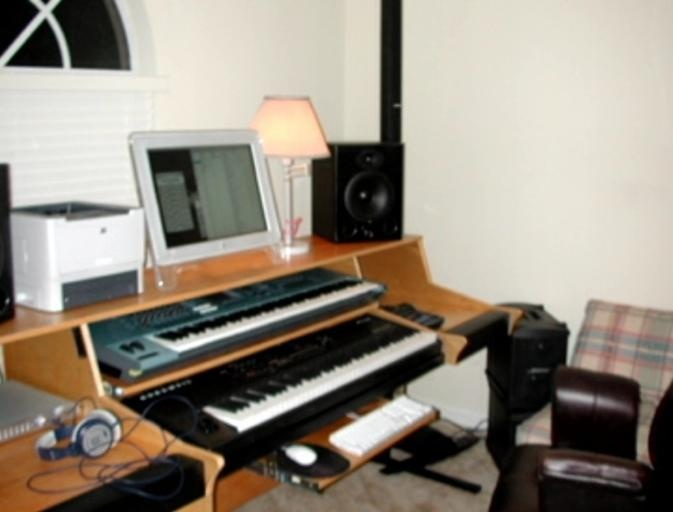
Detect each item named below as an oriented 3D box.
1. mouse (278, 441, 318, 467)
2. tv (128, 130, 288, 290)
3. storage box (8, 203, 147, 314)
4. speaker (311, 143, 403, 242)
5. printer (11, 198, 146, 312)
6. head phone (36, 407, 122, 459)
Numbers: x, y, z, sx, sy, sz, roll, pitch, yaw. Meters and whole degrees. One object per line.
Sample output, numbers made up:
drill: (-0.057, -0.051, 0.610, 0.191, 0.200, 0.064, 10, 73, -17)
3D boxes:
mouse: (-0.119, 0.677, 1.896, 0.086, 0.024, 0.070, 12, 23, 29)
tv: (-0.503, -0.206, 2.173, 0.211, 0.534, 0.641, 20, 23, 34)
storage box: (-0.908, -0.002, 1.922, 0.469, 0.277, 0.444, -1, 8, 8)
speaker: (0.093, -0.331, 2.771, 0.437, 0.454, 0.374, -4, 14, -13)
printer: (-0.859, -0.046, 1.870, 0.396, 0.309, 0.394, 8, 12, 37)
head phone: (-0.792, 0.554, 1.724, 0.218, 0.089, 0.162, -14, 15, -21)
